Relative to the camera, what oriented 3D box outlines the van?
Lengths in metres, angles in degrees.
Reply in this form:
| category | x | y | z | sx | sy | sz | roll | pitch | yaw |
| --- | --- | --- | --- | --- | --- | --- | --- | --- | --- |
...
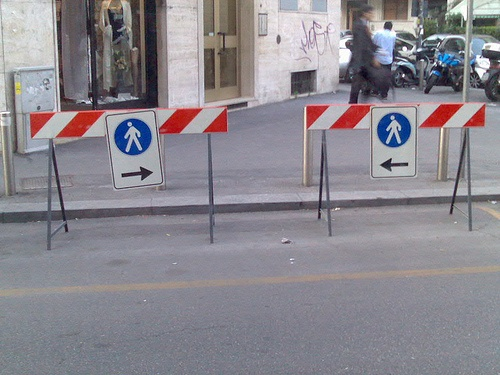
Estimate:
| category | x | y | z | sx | sy | sz | roll | pitch | yaw |
| --- | --- | --- | --- | --- | --- | --- | --- | --- | --- |
| van | 4.526 | -3.975 | 23.437 | 2.923 | 1.465 | 1.752 | -5 | 23 | -2 |

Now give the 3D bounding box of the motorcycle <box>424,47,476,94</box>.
| category | x | y | z | sx | sy | sz | roll | pitch | yaw |
| --- | --- | --- | --- | --- | --- | --- | --- | --- | --- |
| motorcycle | 5.798 | -3.349 | 21.017 | 0.766 | 1.241 | 1.590 | 11 | 20 | 44 |
